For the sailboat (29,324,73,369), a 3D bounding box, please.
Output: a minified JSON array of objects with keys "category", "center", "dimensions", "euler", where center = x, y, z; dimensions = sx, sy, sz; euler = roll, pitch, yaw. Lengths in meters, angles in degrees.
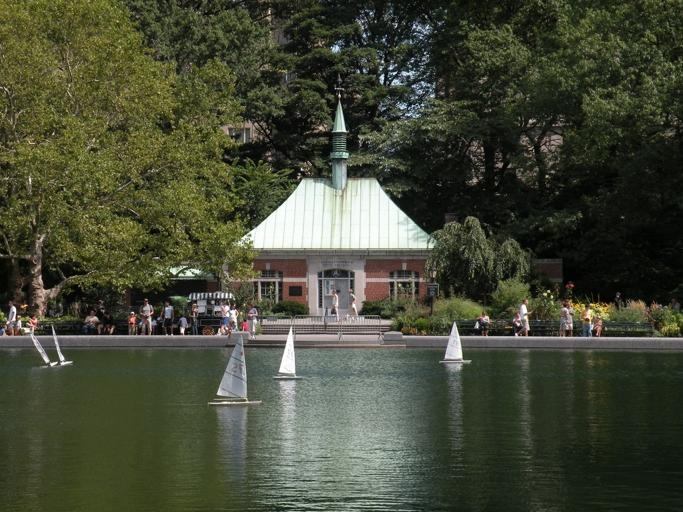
[{"category":"sailboat","center":[-13.699,4.738,70.742],"dimensions":[1.550,2.478,1.824],"euler":[0,-3,28]}]
